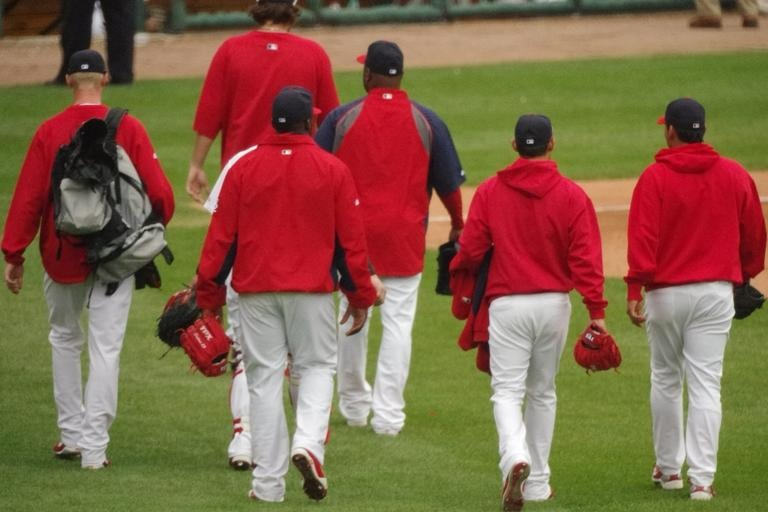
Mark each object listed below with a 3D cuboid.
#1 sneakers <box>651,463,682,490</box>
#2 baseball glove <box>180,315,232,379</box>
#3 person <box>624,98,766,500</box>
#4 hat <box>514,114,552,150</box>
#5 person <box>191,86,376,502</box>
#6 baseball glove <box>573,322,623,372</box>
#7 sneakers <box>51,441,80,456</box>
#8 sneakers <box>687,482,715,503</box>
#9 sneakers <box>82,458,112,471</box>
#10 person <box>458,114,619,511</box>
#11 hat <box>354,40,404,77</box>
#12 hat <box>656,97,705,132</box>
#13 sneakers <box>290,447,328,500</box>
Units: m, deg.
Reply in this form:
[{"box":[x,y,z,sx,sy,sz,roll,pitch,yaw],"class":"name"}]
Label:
[{"box":[2.310,1.811,12.500,0.120,0.123,0.290,-2,10,-14],"class":"sneakers"},{"box":[-1.416,0.721,12.129,0.438,0.490,0.182,-22,5,-8],"class":"baseball glove"},{"box":[2.544,0.307,12.553,0.850,3.184,0.918,4,7,35],"class":"person"},{"box":[1.232,-1.046,12.425,0.331,0.235,0.444,4,15,24],"class":"hat"},{"box":[-0.771,0.300,12.110,1.369,3.272,0.623,0,5,-1],"class":"person"},{"box":[1.765,0.758,12.470,0.406,0.360,0.365,4,0,25],"class":"baseball glove"},{"box":[-2.644,1.612,12.668,0.205,0.112,0.102,13,4,-1],"class":"sneakers"},{"box":[2.551,1.883,12.250,0.197,0.117,0.168,1,6,6],"class":"sneakers"},{"box":[-2.351,1.701,12.465,0.251,0.098,0.085,-1,8,2],"class":"sneakers"},{"box":[1.162,0.414,12.218,1.264,3.077,0.723,1,5,5],"class":"person"},{"box":[-0.020,-1.771,13.308,0.348,0.226,0.476,0,22,-20],"class":"hat"},{"box":[2.477,-1.187,12.625,0.351,0.255,0.487,-3,16,-30],"class":"hat"},{"box":[-0.566,1.702,12.026,0.199,0.479,0.271,-18,1,18],"class":"sneakers"}]
